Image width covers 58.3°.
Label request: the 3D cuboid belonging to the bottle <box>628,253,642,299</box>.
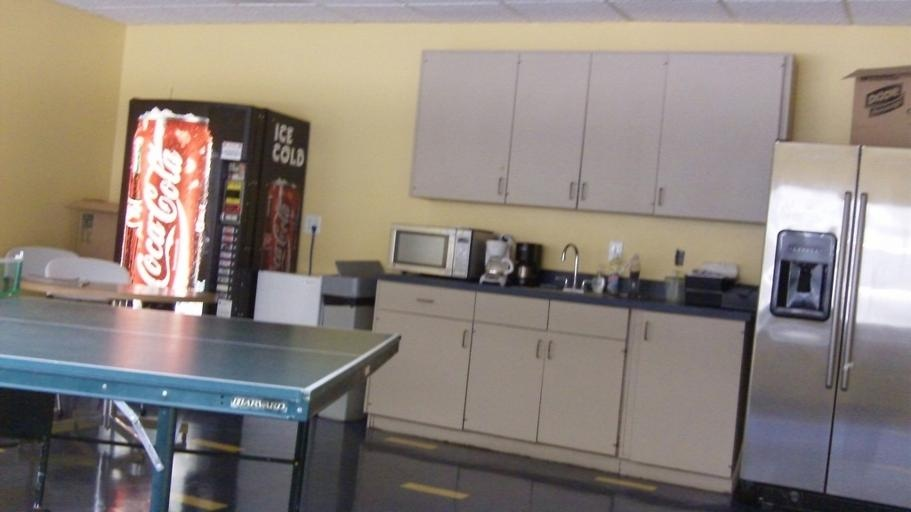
[{"bbox_3d":[1.612,0.177,7.371,0.122,0.258,0.277,5,3,13],"label":"bottle"}]

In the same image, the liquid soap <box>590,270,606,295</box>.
[{"bbox_3d":[1.308,0.241,7.443,0.150,0.132,0.250,4,3,9],"label":"liquid soap"}]

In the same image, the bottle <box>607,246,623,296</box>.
[{"bbox_3d":[1.465,0.135,7.517,0.160,0.515,0.133,1,1,-4],"label":"bottle"}]

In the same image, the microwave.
[{"bbox_3d":[-0.063,-0.037,7.707,0.968,0.480,0.668,7,3,36],"label":"microwave"}]

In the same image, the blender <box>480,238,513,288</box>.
[{"bbox_3d":[0.397,0.048,7.373,0.318,0.366,0.294,6,14,22],"label":"blender"}]

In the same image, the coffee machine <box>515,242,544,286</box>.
[{"bbox_3d":[0.651,0.084,7.649,0.286,0.385,0.269,3,-2,18],"label":"coffee machine"}]

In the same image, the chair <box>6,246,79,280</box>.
[{"bbox_3d":[-3.635,0.030,7.143,0.407,0.450,0.362,5,-5,-28],"label":"chair"}]

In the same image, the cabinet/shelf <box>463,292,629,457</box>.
[{"bbox_3d":[0.938,1.018,7.258,1.615,1.303,0.631,4,-2,32],"label":"cabinet/shelf"}]

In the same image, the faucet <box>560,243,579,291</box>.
[{"bbox_3d":[1.050,0.094,7.484,0.194,0.418,0.324,5,3,8],"label":"faucet"}]
